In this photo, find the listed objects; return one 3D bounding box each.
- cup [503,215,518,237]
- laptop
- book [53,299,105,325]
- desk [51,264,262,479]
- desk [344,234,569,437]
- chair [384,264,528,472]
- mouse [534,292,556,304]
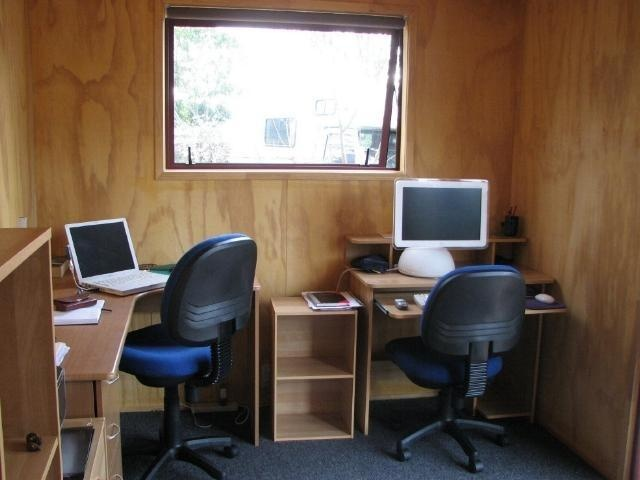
[{"bbox_3d":[1.322,-0.099,3.938,0.095,0.176,0.106,-7,13,-32],"label":"cup"},{"bbox_3d":[-1.217,0.102,3.398,0.507,0.408,0.486,8,12,29],"label":"laptop"},{"bbox_3d":[-1.191,0.375,2.807,0.148,0.032,0.200,1,10,-11],"label":"book"},{"bbox_3d":[-0.874,0.644,2.968,1.047,0.753,1.123,-1,7,-14],"label":"desk"},{"bbox_3d":[0.864,0.419,3.910,1.395,1.557,1.150,0,3,-7],"label":"desk"},{"bbox_3d":[0.769,0.703,3.281,0.740,1.233,0.380,2,13,7],"label":"chair"},{"bbox_3d":[1.391,0.359,3.535,0.067,0.035,0.082,7,11,-27],"label":"mouse"}]
